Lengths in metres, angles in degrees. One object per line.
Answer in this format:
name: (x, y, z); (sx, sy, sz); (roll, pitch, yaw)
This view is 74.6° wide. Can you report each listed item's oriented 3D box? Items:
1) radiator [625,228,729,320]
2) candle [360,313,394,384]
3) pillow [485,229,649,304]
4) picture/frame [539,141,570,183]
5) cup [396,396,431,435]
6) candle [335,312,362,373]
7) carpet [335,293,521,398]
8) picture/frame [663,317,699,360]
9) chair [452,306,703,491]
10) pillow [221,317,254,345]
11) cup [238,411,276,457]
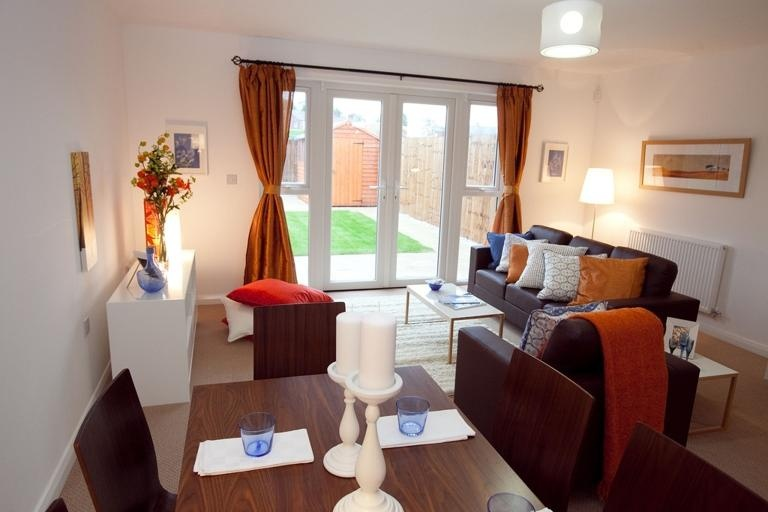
radiator: (3.107, 0.206, 5.245); (0.067, 0.676, 0.913); (-2, 15, -22)
candle: (-0.028, 0.400, 2.144); (0.154, 0.290, 0.147); (0, 13, 0)
pillow: (1.885, 0.177, 5.157); (1.361, 0.497, 0.630); (11, 16, 41)
picture/frame: (2.344, -1.338, 6.999); (0.517, 0.691, 0.083); (-3, 14, -22)
cup: (0.147, 0.796, 2.568); (0.168, 0.141, 0.184); (2, 16, -1)
candle: (-0.156, 0.393, 2.237); (0.111, 0.258, 0.162); (-1, 13, -3)
carpet: (0.542, 1.129, 5.543); (1.121, 0.309, 1.227); (-6, 17, -25)
picture/frame: (2.365, 0.664, 4.027); (0.032, 0.411, 0.319); (-4, 9, -44)
chair: (1.290, 0.823, 3.738); (1.646, 1.342, 1.184); (-3, 19, -14)
pillow: (-1.441, 0.751, 4.992); (0.363, 0.104, 0.365); (2, 10, -25)
cup: (-0.599, 0.845, 2.392); (0.171, 0.150, 0.195); (-1, 4, -18)
